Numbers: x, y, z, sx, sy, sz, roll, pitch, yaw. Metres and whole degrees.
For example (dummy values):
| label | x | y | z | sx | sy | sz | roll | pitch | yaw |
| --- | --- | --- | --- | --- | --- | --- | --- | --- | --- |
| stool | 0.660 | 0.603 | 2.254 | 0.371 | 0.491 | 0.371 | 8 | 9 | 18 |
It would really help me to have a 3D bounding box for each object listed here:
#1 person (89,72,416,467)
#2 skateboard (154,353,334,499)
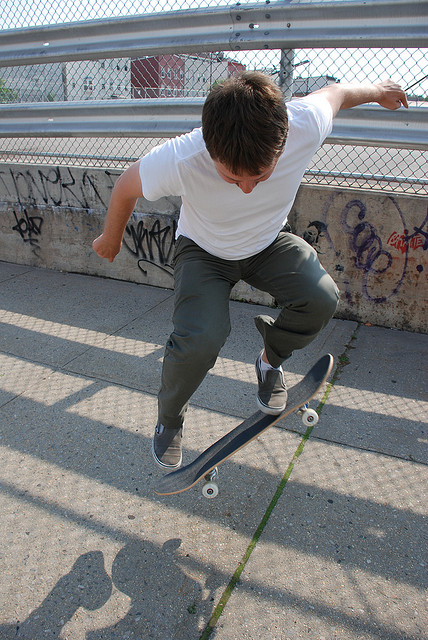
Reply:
| label | x | y | z | sx | sy | sz | roll | pitch | yaw |
| --- | --- | --- | --- | --- | --- | --- | --- | --- | --- |
| person | 0.154 | -0.221 | 2.077 | 0.965 | 1.463 | 0.648 | -11 | 38 | -23 |
| skateboard | 0.147 | 0.519 | 2.319 | 0.771 | 0.140 | 0.188 | -39 | 16 | -4 |
